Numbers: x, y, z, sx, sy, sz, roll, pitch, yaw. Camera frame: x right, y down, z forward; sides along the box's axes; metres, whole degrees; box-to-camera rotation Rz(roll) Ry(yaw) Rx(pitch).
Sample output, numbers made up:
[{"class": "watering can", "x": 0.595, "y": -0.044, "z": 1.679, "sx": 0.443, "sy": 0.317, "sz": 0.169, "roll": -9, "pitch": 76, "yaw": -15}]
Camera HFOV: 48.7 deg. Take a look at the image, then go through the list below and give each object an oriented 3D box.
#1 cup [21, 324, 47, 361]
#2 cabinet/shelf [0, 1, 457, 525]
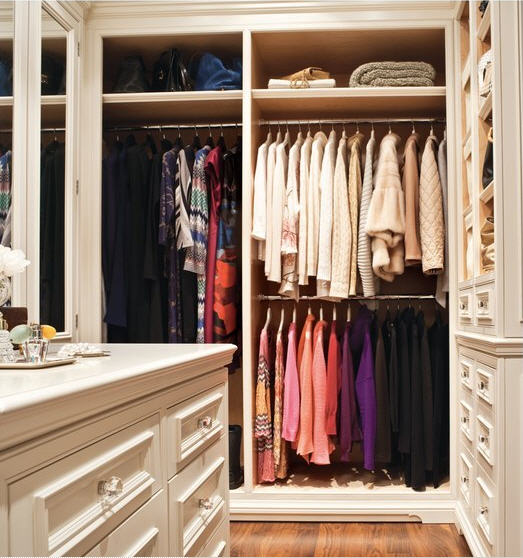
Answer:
[{"class": "cup", "x": -0.474, "y": 0.129, "z": 1.203, "sx": 0.047, "sy": 0.091, "sz": 0.058, "roll": 0, "pitch": -2, "yaw": 8}, {"class": "cabinet/shelf", "x": -0.081, "y": -0.110, "z": 2.222, "sx": 1.443, "sy": 2.148, "sz": 0.593, "roll": 0, "pitch": -3, "yaw": -1}]
